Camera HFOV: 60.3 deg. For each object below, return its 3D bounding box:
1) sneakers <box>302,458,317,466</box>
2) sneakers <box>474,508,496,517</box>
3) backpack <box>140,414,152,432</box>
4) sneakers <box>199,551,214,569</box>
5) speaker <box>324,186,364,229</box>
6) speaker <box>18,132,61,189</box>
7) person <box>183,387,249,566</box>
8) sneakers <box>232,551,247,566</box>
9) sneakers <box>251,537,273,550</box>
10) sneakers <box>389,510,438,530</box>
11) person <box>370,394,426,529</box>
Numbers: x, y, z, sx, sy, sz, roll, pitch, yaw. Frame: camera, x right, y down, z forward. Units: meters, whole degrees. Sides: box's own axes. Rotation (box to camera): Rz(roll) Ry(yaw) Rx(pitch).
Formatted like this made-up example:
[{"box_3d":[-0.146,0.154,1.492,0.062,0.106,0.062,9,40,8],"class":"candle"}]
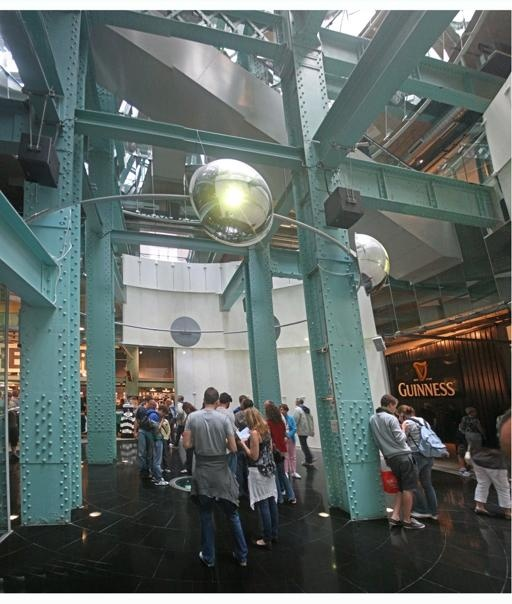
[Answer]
[{"box_3d":[1.225,3.886,10.725,0.461,0.197,0.155,-9,-12,38],"class":"sneakers"},{"box_3d":[3.100,2.850,5.968,0.280,0.116,0.088,-8,-15,14],"class":"sneakers"},{"box_3d":[-2.184,2.436,8.887,0.159,0.356,0.488,4,-16,-31],"class":"backpack"},{"box_3d":[-0.496,2.613,4.479,0.084,0.095,0.228,4,-2,-14],"class":"sneakers"},{"box_3d":[1.321,-1.435,6.668,0.417,0.503,0.521,0,-14,-15],"class":"speaker"},{"box_3d":[-2.853,-1.901,5.847,0.424,0.490,0.734,1,-30,-7],"class":"speaker"},{"box_3d":[-0.431,1.805,4.638,0.591,1.754,0.305,-3,-14,-4],"class":"person"},{"box_3d":[-0.153,2.591,4.480,0.141,0.120,0.256,-2,-13,-7],"class":"sneakers"},{"box_3d":[0.070,2.714,4.994,0.224,0.076,0.291,-4,-13,0],"class":"sneakers"},{"box_3d":[2.058,2.819,5.663,0.645,0.245,0.234,-3,11,4],"class":"sneakers"},{"box_3d":[1.861,2.070,5.860,0.384,1.642,0.573,-1,-14,-10],"class":"person"}]
